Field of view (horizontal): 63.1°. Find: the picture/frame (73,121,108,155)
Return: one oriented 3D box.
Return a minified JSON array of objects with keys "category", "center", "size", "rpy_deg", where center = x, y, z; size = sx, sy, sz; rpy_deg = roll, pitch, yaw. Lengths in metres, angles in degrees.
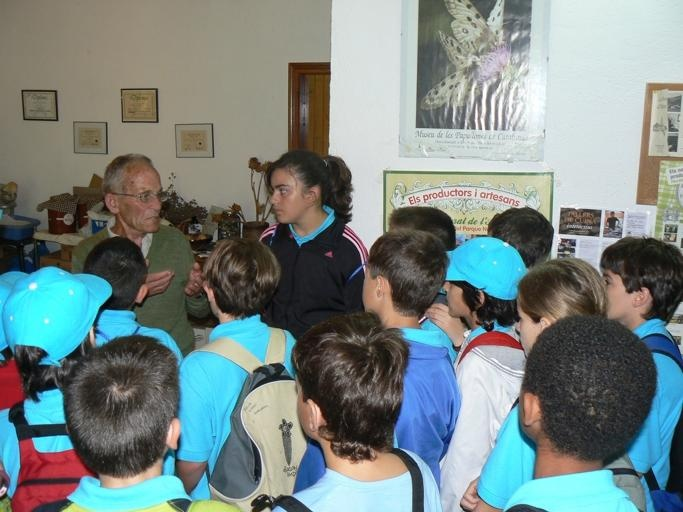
[{"category":"picture/frame","center":[-2.896,-1.361,6.425],"size":[0.363,0.369,0.018],"rpy_deg":[3,11,17]}]

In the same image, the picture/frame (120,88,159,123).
[{"category":"picture/frame","center":[-2.253,-1.677,6.217],"size":[0.357,0.330,0.029],"rpy_deg":[0,3,8]}]

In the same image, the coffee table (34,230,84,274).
[{"category":"coffee table","center":[-2.214,-0.039,4.322],"size":[0.285,0.356,0.357],"rpy_deg":[0,6,-21]}]

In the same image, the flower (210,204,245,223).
[{"category":"flower","center":[-1.132,-0.412,5.529],"size":[0.261,0.115,0.284],"rpy_deg":[0,18,14]}]

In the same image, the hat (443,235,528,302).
[{"category":"hat","center":[0.519,0.050,2.058],"size":[0.262,0.161,0.205],"rpy_deg":[20,35,2]}]

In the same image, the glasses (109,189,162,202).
[{"category":"glasses","center":[-1.016,-0.298,2.782],"size":[0.242,0.055,0.125],"rpy_deg":[-5,11,-37]}]

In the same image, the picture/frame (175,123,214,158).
[{"category":"picture/frame","center":[-1.621,-1.271,6.141],"size":[0.348,0.326,0.026],"rpy_deg":[1,11,11]}]

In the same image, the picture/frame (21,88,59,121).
[{"category":"picture/frame","center":[-3.519,-1.764,6.493],"size":[0.347,0.314,0.026],"rpy_deg":[3,18,11]}]

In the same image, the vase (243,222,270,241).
[{"category":"vase","center":[-0.656,-0.184,4.215],"size":[0.169,0.196,0.175],"rpy_deg":[0,13,-1]}]
